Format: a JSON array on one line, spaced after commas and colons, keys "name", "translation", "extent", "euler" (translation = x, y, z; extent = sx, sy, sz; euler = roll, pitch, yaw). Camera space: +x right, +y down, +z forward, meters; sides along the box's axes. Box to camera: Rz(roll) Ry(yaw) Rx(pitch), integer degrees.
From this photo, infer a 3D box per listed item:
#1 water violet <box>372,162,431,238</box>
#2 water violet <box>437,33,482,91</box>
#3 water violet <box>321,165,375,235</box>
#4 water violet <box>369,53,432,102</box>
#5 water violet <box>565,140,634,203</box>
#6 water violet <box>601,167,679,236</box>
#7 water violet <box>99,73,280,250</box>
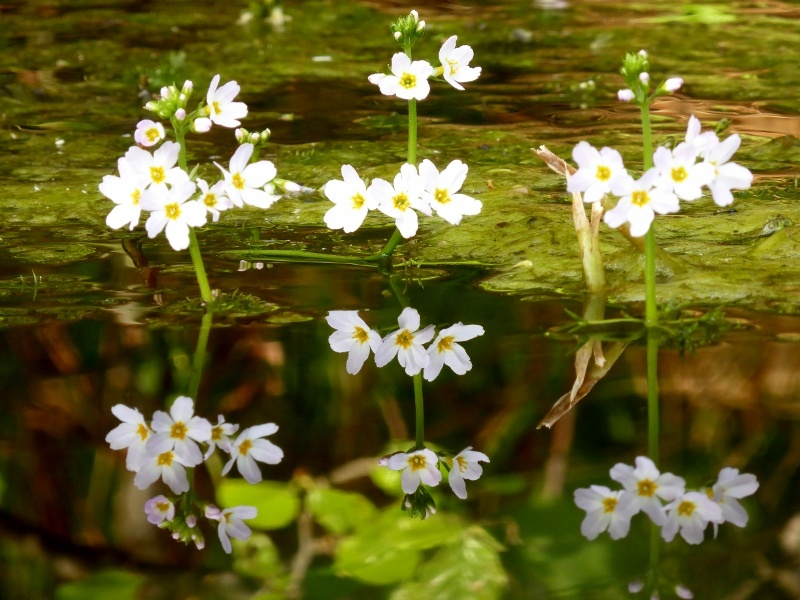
[{"name": "water violet", "translation": [0.003, -0.270, 2.374], "extent": [0.162, 0.198, 0.100], "euler": [-2, 17, 1]}, {"name": "water violet", "translation": [0.172, -0.678, 2.492], "extent": [0.107, 0.142, 0.216], "euler": [-1, 15, 4]}, {"name": "water violet", "translation": [-0.148, -0.278, 2.418], "extent": [0.139, 0.187, 0.139], "euler": [-8, 17, -18]}, {"name": "water violet", "translation": [0.009, -0.629, 2.457], "extent": [0.175, 0.131, 0.098], "euler": [-2, 16, 0]}, {"name": "water violet", "translation": [0.494, -0.318, 2.125], "extent": [0.130, 0.123, 0.028], "euler": [-15, 48, 44]}, {"name": "water violet", "translation": [0.580, -0.236, 2.096], "extent": [0.179, 0.160, 0.109], "euler": [-1, 16, 2]}, {"name": "water violet", "translation": [-0.553, -0.374, 2.526], "extent": [0.590, 0.446, 0.515], "euler": [-6, -9, 5]}]
